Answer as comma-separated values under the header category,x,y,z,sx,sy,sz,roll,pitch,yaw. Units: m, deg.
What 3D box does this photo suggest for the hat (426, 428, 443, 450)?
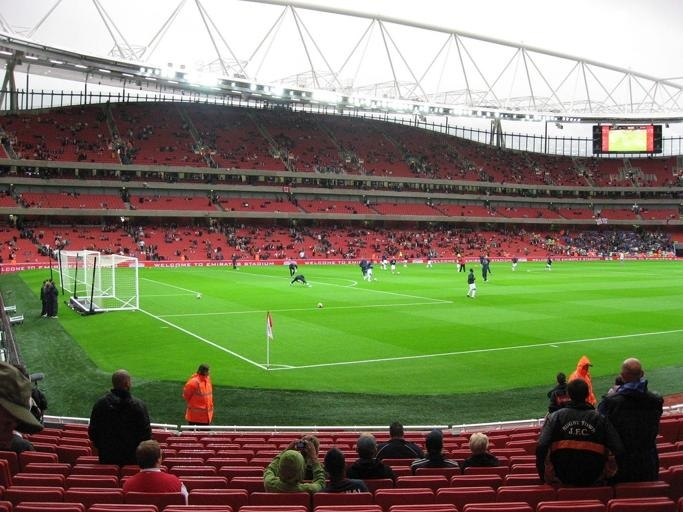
category,x,y,z,sx,sy,sz,roll,pitch,yaw
hat,2.952,5.716,27.848,0.512,0.632,0.644,8,38,5

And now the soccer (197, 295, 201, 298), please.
category,x,y,z,sx,sy,sz,roll,pitch,yaw
soccer,-8.807,2.579,55.183,0.195,0.193,0.177,0,20,-21
